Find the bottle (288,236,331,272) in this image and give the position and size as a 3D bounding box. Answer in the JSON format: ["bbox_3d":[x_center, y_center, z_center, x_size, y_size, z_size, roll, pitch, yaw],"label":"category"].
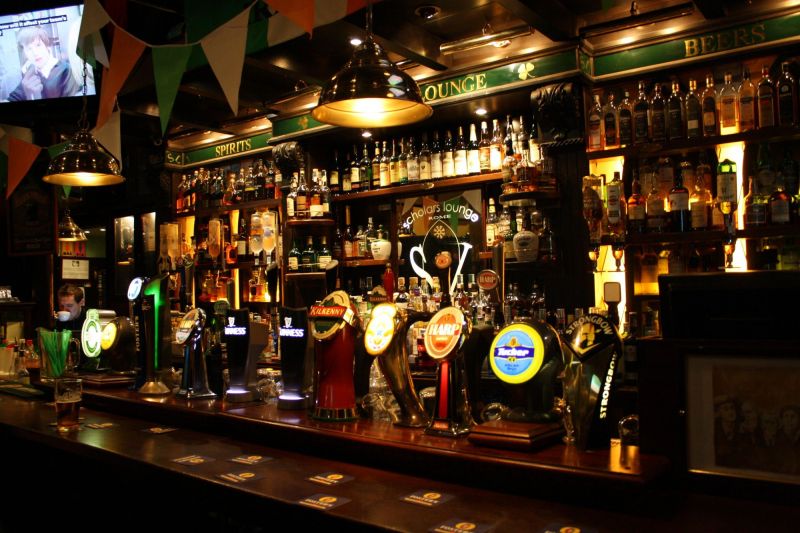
[{"bbox_3d":[-0.860,-0.113,6.130,0.339,0.306,0.120,-1,-8,8],"label":"bottle"}]

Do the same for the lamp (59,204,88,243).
[{"bbox_3d":[-3.656,-0.509,7.189,0.361,0.358,0.346,9,11,32],"label":"lamp"}]

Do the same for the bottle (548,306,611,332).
[{"bbox_3d":[1.253,0.370,4.492,0.432,0.174,1.054,-1,-1,9],"label":"bottle"}]

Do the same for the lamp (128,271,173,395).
[{"bbox_3d":[-1.516,0.403,3.972,0.226,0.704,0.479,-1,-1,-24],"label":"lamp"}]

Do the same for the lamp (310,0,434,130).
[{"bbox_3d":[-0.201,-0.993,3.379,0.590,0.626,0.637,-1,9,-10],"label":"lamp"}]

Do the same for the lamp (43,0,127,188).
[{"bbox_3d":[-2.207,-1.074,4.556,0.499,0.948,1.047,-1,-1,-25],"label":"lamp"}]

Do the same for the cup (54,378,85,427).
[{"bbox_3d":[-1.770,0.724,3.497,0.116,0.264,0.137,0,-1,-33],"label":"cup"}]
